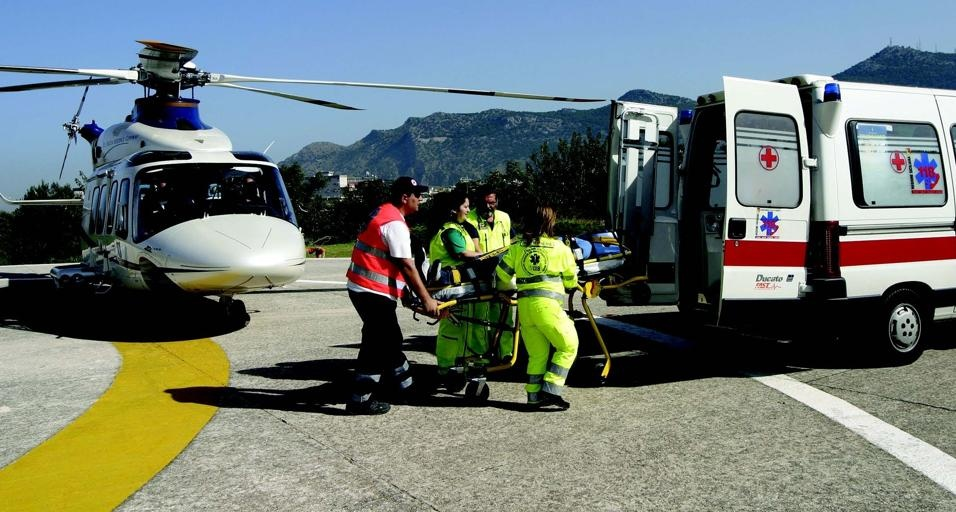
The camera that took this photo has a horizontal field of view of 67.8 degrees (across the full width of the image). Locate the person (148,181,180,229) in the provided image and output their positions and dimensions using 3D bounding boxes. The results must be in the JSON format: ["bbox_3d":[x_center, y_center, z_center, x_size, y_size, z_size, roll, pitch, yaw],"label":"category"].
[{"bbox_3d":[-5.546,-0.916,12.565,0.475,0.830,0.587,-5,9,-22],"label":"person"}]

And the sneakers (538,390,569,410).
[{"bbox_3d":[0.895,1.903,9.276,0.573,0.216,0.176,4,21,1],"label":"sneakers"}]

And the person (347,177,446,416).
[{"bbox_3d":[-1.189,0.511,9.295,1.152,3.041,0.564,-3,9,-9],"label":"person"}]

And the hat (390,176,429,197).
[{"bbox_3d":[-0.884,-0.913,9.416,0.444,0.147,0.267,-2,6,-25],"label":"hat"}]
